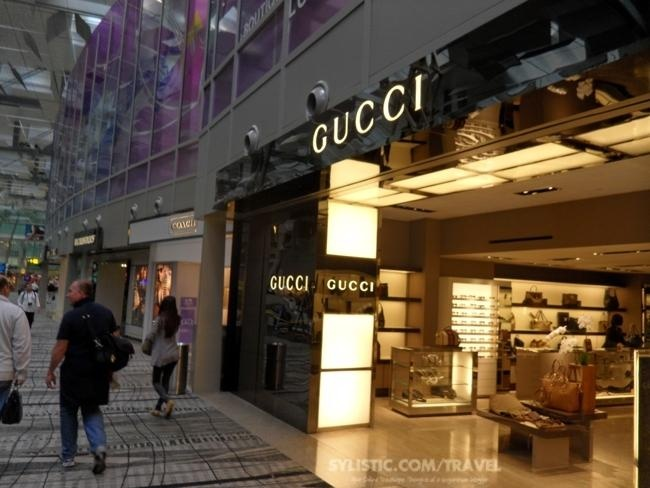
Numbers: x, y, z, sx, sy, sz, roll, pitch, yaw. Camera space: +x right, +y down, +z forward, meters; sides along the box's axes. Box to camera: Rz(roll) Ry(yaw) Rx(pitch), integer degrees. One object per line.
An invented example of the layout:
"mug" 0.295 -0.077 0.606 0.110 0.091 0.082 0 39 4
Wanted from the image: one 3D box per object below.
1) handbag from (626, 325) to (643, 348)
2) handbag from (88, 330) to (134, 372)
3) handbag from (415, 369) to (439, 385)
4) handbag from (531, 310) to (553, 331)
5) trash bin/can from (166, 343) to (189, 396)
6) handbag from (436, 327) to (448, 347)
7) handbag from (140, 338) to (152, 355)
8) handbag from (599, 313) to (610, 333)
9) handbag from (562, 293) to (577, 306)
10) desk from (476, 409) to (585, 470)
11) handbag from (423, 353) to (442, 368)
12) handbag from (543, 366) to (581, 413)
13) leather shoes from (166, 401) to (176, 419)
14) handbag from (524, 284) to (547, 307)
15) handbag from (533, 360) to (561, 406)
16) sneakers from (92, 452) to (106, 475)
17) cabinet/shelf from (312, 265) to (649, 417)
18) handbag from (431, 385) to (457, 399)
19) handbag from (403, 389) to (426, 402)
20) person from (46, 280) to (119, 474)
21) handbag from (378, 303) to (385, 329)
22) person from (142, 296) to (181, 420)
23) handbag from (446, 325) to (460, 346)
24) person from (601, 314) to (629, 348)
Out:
"handbag" 8.411 2.527 13.286 0.267 0.676 0.449 -1 -7 3
"handbag" -2.419 1.232 5.567 0.393 0.430 0.419 0 -6 -5
"handbag" 1.916 2.501 9.192 0.387 0.130 0.288 4 1 27
"handbag" 5.709 2.051 12.998 0.555 0.605 0.484 2 -7 -8
"trash bin/can" -2.765 2.399 9.335 0.193 0.924 0.280 8 -11 -40
"handbag" 2.294 1.835 9.569 0.244 0.347 0.250 1 -5 15
"handbag" -2.868 1.655 7.850 0.137 0.275 0.463 4 -5 -18
"handbag" 7.890 2.271 13.881 0.368 0.586 0.124 9 -9 7
"handbag" 6.717 1.557 13.442 0.428 0.334 0.317 4 -6 -40
"desk" 2.808 2.664 6.655 0.918 0.625 1.077 6 -6 -31
"handbag" 2.025 2.206 9.242 0.210 0.115 0.295 3 0 -18
"handbag" 3.215 2.000 6.738 0.257 0.657 0.652 12 -13 -21
"leather shoes" -2.429 2.599 7.624 0.104 0.312 0.143 -9 36 -44
"handbag" 5.535 1.387 12.973 0.522 0.537 0.236 3 -2 -14
"handbag" 3.228 1.990 6.909 0.497 0.654 0.291 17 -16 -41
"sneakers" -2.470 2.388 5.347 0.116 0.353 0.138 4 0 -20
"cabinet/shelf" 4.642 2.068 12.199 8.107 3.145 0.802 6 -6 -30
"handbag" 2.216 2.799 9.217 0.548 0.251 0.084 5 -5 -23
"handbag" 1.629 2.761 8.890 0.206 0.157 0.374 3 -1 -28
"person" -2.753 1.463 5.519 0.687 2.088 0.653 5 -5 -29
"handbag" 1.197 1.550 10.452 0.127 0.493 0.502 2 -5 9
"person" -2.668 1.796 7.899 0.549 1.903 0.924 4 -5 -17
"handbag" 2.524 1.869 9.719 0.253 0.390 0.350 4 -13 -16
"person" 7.172 2.170 11.983 0.531 0.879 0.510 1 9 0
